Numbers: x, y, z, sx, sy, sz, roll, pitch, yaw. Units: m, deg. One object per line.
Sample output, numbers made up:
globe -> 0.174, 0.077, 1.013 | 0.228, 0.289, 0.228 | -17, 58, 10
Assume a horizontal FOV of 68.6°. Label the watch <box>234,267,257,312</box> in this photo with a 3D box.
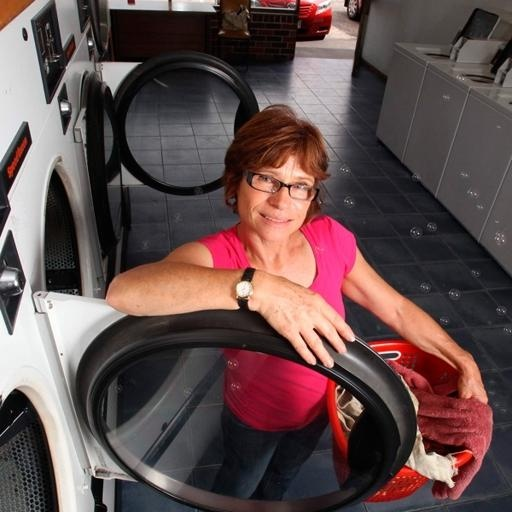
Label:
watch -> -0.008, 0.057, 0.647 | 0.027, 0.060, 0.072 | 6, 31, 24
